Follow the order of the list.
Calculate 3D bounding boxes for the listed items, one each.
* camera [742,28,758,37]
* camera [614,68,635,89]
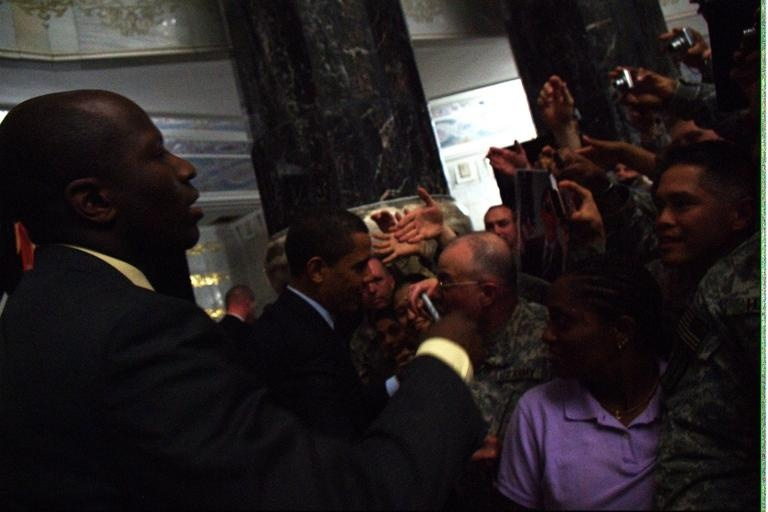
[{"bbox_3d":[1.283,-0.778,1.994,0.009,0.030,0.033,21,-19,-31],"label":"camera"},{"bbox_3d":[0.928,-0.680,2.213,0.054,0.074,0.074,-6,-8,-25],"label":"camera"}]
